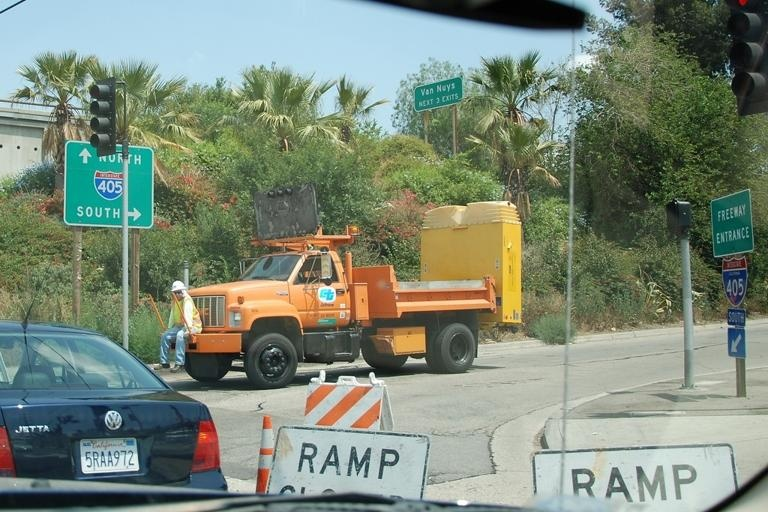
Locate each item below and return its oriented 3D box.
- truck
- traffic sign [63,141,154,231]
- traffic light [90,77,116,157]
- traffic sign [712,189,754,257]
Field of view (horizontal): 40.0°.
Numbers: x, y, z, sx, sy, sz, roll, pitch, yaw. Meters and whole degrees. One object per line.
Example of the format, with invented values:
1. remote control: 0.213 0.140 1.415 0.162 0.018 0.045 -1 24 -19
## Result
1. truck: -1.055 0.891 18.606 5.279 2.620 2.327 6 -9 -37
2. traffic sign: -4.348 -1.119 16.690 0.100 1.386 1.530 -7 -9 44
3. traffic light: -4.169 -2.089 15.691 0.381 1.133 0.605 -1 -2 -15
4. traffic sign: 2.720 -0.274 8.206 0.025 0.604 0.494 -1 -1 -30
